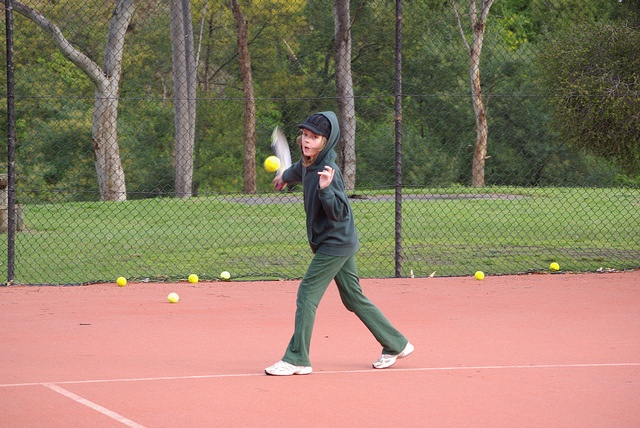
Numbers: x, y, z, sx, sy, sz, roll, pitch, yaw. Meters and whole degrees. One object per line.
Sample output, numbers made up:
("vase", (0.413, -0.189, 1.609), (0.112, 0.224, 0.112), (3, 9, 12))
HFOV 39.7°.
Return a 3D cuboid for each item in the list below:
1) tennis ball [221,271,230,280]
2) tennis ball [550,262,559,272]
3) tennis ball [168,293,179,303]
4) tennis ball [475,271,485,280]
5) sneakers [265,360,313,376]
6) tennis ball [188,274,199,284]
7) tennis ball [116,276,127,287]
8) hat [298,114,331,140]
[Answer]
("tennis ball", (-1.620, 1.073, 15.293), (0.141, 0.119, 0.129), (4, 9, -1))
("tennis ball", (4.139, 0.951, 15.655), (0.162, 0.159, 0.149), (7, -2, 0))
("tennis ball", (-2.313, 1.339, 14.055), (0.148, 0.137, 0.142), (28, -12, 7))
("tennis ball", (2.737, 1.073, 15.120), (0.164, 0.125, 0.125), (4, 42, -1))
("sneakers", (-0.437, 2.072, 11.933), (0.645, 0.252, 0.216), (3, -6, -10))
("tennis ball", (-2.146, 1.119, 15.129), (0.143, 0.133, 0.134), (27, 25, -14))
("tennis ball", (-3.338, 1.152, 14.839), (0.160, 0.158, 0.149), (-1, 8, 0))
("hat", (-0.045, -1.158, 11.760), (0.285, 0.176, 0.381), (11, -4, 44))
